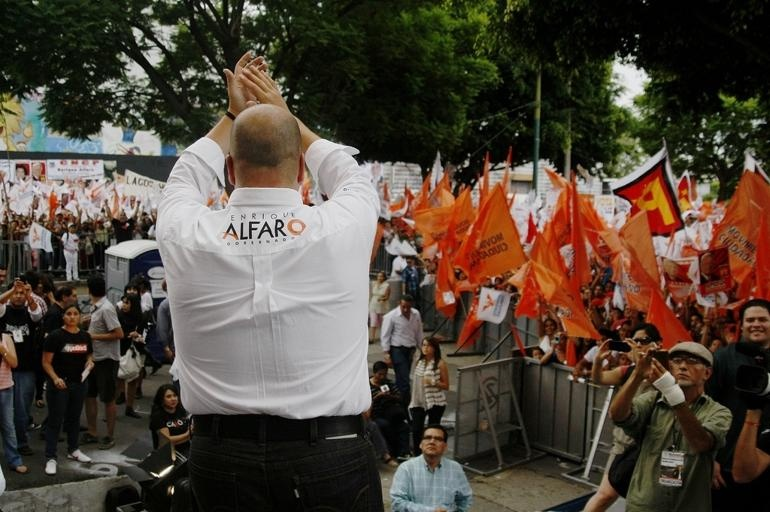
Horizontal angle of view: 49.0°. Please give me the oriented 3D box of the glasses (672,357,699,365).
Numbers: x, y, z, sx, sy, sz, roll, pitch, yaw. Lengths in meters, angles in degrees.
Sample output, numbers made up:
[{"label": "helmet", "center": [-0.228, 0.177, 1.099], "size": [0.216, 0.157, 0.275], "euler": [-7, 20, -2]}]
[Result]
[{"label": "glasses", "center": [3.645, 1.270, 10.206], "size": [0.284, 0.098, 0.041], "euler": [7, 12, 18]}]

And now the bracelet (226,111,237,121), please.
[{"label": "bracelet", "center": [-1.564, -1.414, 8.556], "size": [0.091, 0.024, 0.087], "euler": [21, -23, 41]}]

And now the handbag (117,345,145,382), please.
[{"label": "handbag", "center": [-5.041, 2.041, 16.567], "size": [0.384, 0.788, 0.660], "euler": [8, -1, 18]}]
